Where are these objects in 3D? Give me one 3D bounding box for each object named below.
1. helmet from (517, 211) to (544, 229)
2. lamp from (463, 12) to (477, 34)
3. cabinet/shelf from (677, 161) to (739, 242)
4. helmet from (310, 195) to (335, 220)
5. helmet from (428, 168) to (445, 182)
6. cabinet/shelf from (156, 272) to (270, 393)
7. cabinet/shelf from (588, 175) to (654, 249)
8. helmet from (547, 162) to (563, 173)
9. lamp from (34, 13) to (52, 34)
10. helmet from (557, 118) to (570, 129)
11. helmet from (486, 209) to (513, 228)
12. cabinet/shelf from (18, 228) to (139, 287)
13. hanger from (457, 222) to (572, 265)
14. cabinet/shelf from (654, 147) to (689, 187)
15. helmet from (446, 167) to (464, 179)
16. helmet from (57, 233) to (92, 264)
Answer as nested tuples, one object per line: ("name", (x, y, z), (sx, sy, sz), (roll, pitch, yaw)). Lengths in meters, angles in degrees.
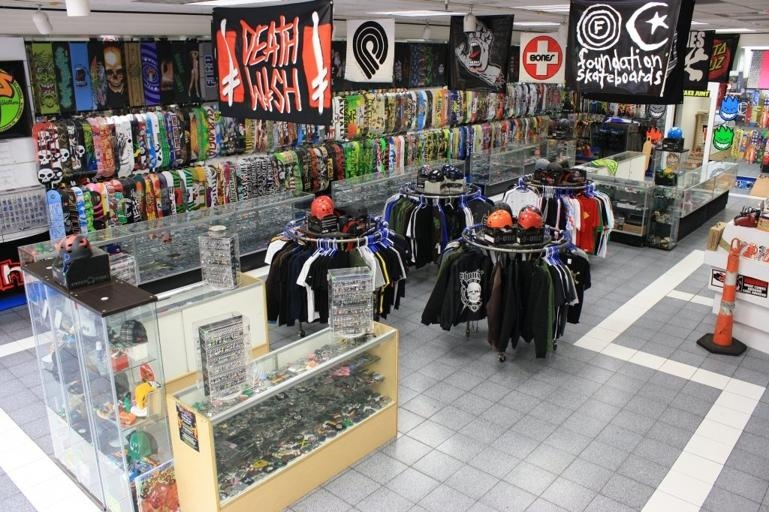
("helmet", (2.085, -0.516, 6.909), (0.324, 0.240, 0.233), (19, 32, 6))
("lamp", (1.489, -4.028, 8.440), (0.285, 0.286, 0.271), (-11, 27, -19))
("cabinet/shelf", (7.604, -1.276, 11.415), (2.286, 0.832, 0.574), (-29, 36, -36))
("helmet", (-0.977, -0.750, 7.521), (0.351, 0.294, 0.324), (13, 25, 32))
("helmet", (0.990, -1.539, 9.273), (0.362, 0.240, 0.346), (-5, 21, -9))
("cabinet/shelf", (-1.939, 0.872, 5.421), (0.459, 0.886, 1.266), (16, 26, 39))
("cabinet/shelf", (5.208, -0.977, 10.602), (1.431, 1.267, 0.576), (16, 32, 31))
("helmet", (3.428, -1.766, 9.679), (0.278, 0.176, 0.258), (4, 21, 13))
("lamp", (-4.534, -3.083, 6.377), (0.156, 0.256, 0.284), (-12, 24, -26))
("helmet", (6.227, -4.590, 16.803), (0.358, 0.333, 0.350), (11, 42, 35))
("helmet", (1.651, -0.534, 6.922), (0.341, 0.187, 0.242), (-10, 16, -37))
("cabinet/shelf", (-3.938, 0.017, 6.294), (0.903, 0.411, 0.490), (16, 22, 35))
("hanger", (1.961, -0.194, 7.089), (0.932, 0.313, 0.907), (4, 19, 13))
("cabinet/shelf", (6.431, -1.981, 10.930), (0.614, 0.681, 0.873), (9, 23, 26))
("helmet", (1.377, -1.587, 9.482), (0.309, 0.148, 0.430), (11, 21, 28))
("helmet", (-3.300, -0.066, 5.125), (0.227, 0.277, 0.308), (30, 48, 31))
